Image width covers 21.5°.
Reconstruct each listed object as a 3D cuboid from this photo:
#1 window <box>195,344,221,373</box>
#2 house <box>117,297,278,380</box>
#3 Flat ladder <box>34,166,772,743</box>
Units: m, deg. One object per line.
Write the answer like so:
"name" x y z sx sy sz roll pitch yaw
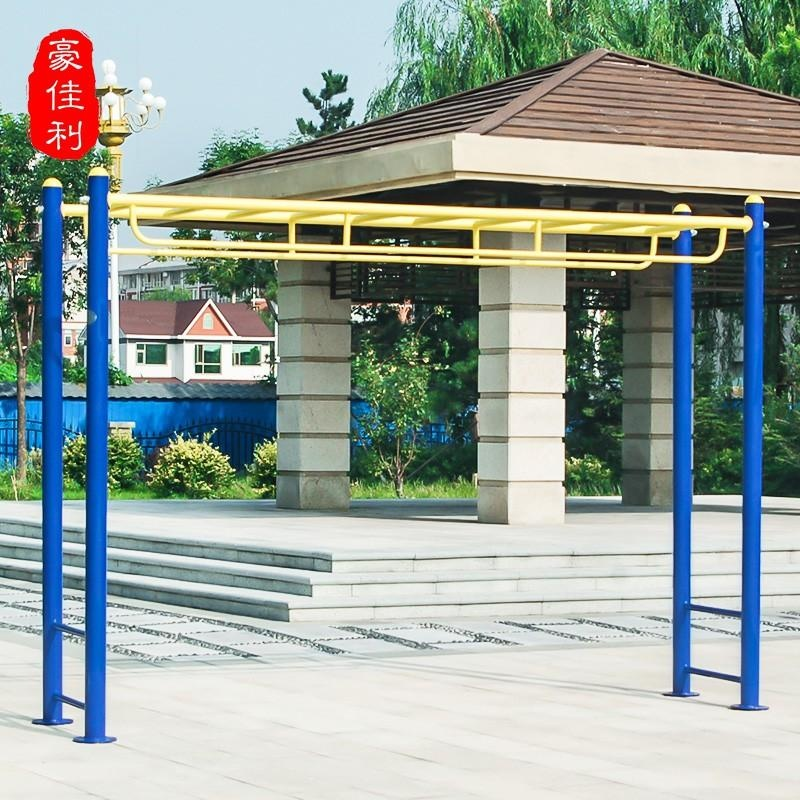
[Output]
"window" -6.408 -1.312 69.414 0.818 1.000 0.072 2 -4 -33
"house" -7.196 -1.630 71.067 5.064 3.216 3.445 2 -13 -30
"Flat ladder" -0.149 0.337 14.444 4.631 3.537 4.618 2 -2 -11
